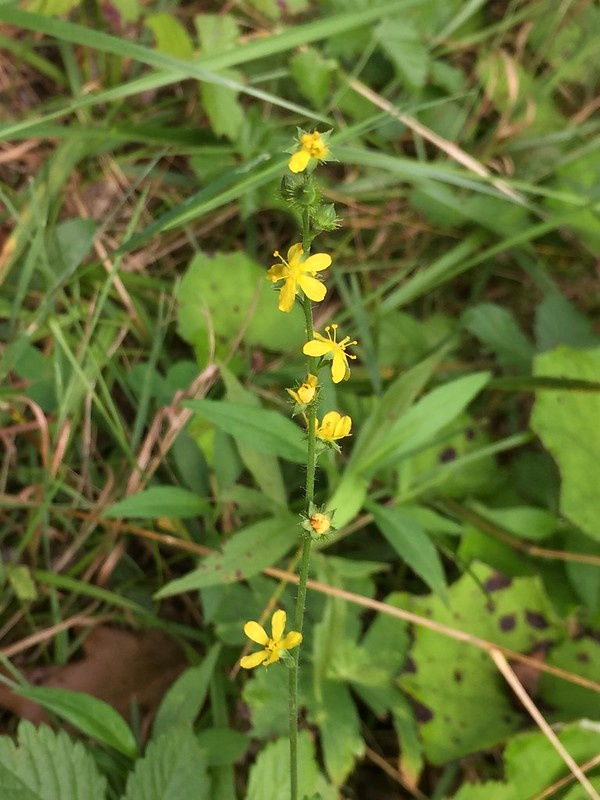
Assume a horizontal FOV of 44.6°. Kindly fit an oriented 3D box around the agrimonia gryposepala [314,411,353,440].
[{"bbox_3d":[0.052,0.031,1.060,0.052,0.026,0.046,1,96,10],"label":"agrimonia gryposepala"}]

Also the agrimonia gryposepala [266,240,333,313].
[{"bbox_3d":[0.000,-0.174,0.990,0.083,0.096,0.029,0,53,47],"label":"agrimonia gryposepala"}]

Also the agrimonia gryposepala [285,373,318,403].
[{"bbox_3d":[0.006,-0.015,0.974,0.039,0.041,0.023,-2,58,-6],"label":"agrimonia gryposepala"}]

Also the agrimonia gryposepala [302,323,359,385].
[{"bbox_3d":[0.042,-0.074,1.031,0.070,0.060,0.055,22,96,22],"label":"agrimonia gryposepala"}]

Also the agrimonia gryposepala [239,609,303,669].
[{"bbox_3d":[-0.041,0.334,1.020,0.079,0.035,0.062,19,24,12],"label":"agrimonia gryposepala"}]
